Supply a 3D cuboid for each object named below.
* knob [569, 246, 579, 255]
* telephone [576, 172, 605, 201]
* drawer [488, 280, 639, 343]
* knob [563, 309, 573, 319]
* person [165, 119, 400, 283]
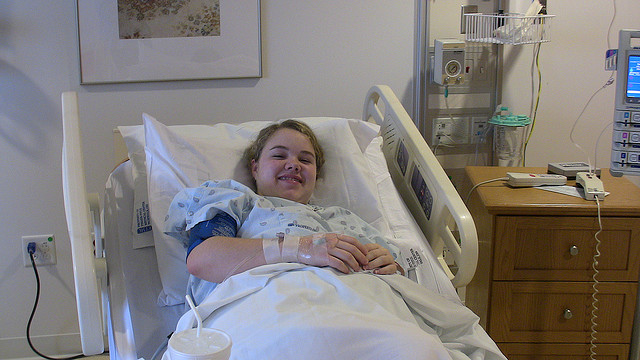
[{"bbox_3d":[1.483,0.410,2.996,0.056,0.049,0.020,-1,9,-4],"label":"knob"},{"bbox_3d":[1.594,0.036,3.031,0.104,0.050,0.189,3,26,1],"label":"telephone"},{"bbox_3d":[1.405,0.770,3.041,0.786,0.440,0.414,1,3,0],"label":"drawer"},{"bbox_3d":[1.467,0.794,3.035,0.057,0.059,0.021,-1,9,-5],"label":"knob"},{"bbox_3d":[-0.283,0.174,2.680,0.928,0.326,0.863,10,36,-10],"label":"person"}]
